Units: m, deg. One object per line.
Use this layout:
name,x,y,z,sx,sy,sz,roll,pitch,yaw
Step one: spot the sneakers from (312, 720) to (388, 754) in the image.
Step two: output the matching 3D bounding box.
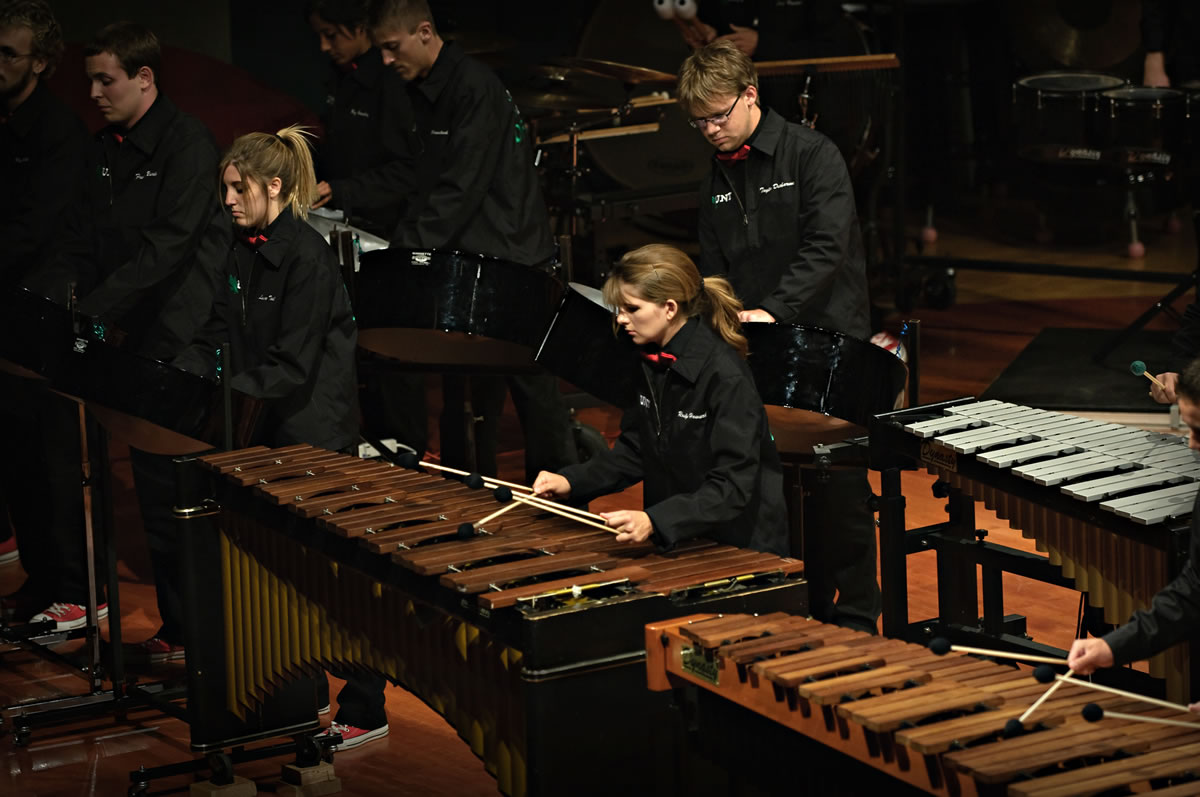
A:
sneakers,-0.782,1.064,3.912,0.196,0.064,0.075,6,-5,-32

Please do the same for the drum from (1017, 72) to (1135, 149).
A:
drum,2.340,-1.433,6.193,0.437,0.246,0.432,-1,4,0

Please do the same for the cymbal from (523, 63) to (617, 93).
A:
cymbal,-0.152,-1.636,6.345,0.264,0.061,0.272,11,13,44

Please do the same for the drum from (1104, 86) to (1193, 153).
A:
drum,2.593,-1.310,5.888,0.355,0.230,0.335,0,6,0

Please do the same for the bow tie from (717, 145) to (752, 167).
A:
bow tie,0.445,-0.809,4.102,0.117,0.058,0.091,0,7,6

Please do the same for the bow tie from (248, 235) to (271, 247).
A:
bow tie,-1.067,-0.482,3.845,0.046,0.019,0.052,1,12,34

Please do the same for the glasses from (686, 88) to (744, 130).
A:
glasses,0.378,-0.930,3.943,0.127,0.035,0.121,-33,14,-35
